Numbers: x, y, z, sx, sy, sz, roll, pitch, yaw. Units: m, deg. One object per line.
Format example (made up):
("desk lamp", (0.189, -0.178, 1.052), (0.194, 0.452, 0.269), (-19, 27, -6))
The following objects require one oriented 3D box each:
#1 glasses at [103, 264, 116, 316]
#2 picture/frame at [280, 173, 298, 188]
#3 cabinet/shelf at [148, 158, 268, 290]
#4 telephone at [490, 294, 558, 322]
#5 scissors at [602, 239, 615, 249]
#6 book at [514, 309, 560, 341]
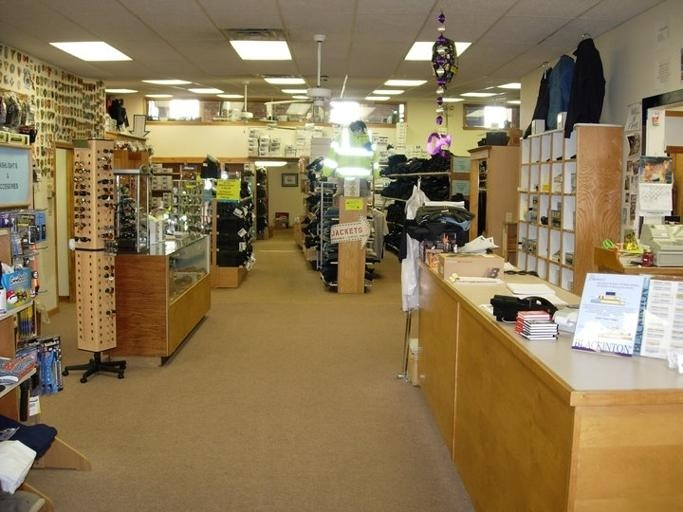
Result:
("glasses", (-2.262, 0.326, 5.189), (0.053, 0.502, 0.129), (3, 9, 16))
("picture/frame", (-1.866, -2.704, 18.534), (0.475, 0.413, 0.037), (1, 12, -2))
("cabinet/shelf", (-2.269, -0.598, 8.975), (1.491, 2.791, 2.836), (-1, 6, -5))
("telephone", (1.042, 0.289, 3.063), (0.202, 0.078, 0.208), (1, 6, -1))
("scissors", (2.984, -0.131, 5.920), (0.113, 0.046, 0.194), (7, 36, 16))
("book", (1.072, 0.373, 2.868), (0.233, 0.117, 0.171), (0, 10, -4))
